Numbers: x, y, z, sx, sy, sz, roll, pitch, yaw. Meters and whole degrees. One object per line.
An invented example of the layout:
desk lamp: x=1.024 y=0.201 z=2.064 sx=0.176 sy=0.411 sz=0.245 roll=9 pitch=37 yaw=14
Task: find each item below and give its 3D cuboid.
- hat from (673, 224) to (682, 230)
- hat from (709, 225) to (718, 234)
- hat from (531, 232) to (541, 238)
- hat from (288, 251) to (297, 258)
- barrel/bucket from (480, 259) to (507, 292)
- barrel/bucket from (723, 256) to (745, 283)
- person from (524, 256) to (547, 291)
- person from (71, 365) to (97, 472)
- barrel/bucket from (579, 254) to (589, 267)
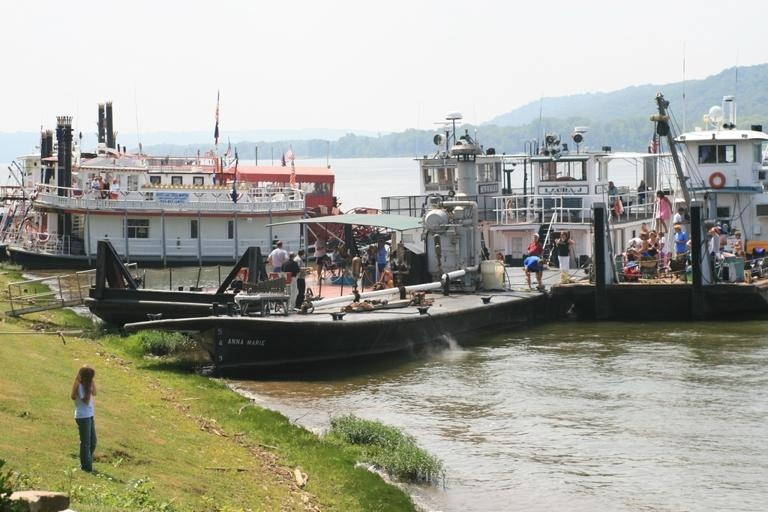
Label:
hat: x=11.755 y=-1.175 z=63.549 sx=0.219 sy=0.297 sz=0.290 roll=4 pitch=20 yaw=1
hat: x=13.143 y=-1.089 z=63.328 sx=0.247 sy=0.177 sz=0.416 roll=9 pitch=11 yaw=11
hat: x=6.584 y=-0.938 z=68.374 sx=0.338 sy=0.373 sz=0.214 roll=1 pitch=24 yaw=8
hat: x=-3.312 y=-0.075 z=58.773 sx=0.192 sy=0.241 sz=0.251 roll=0 pitch=-5 yaw=-6
barrel/bucket: x=4.484 y=0.711 z=64.579 sx=1.009 sy=1.088 sz=1.165 roll=-1 pitch=-5 yaw=10
barrel/bucket: x=13.896 y=0.462 z=63.188 sx=0.907 sy=0.995 sz=0.490 roll=-3 pitch=2 yaw=2
person: x=6.138 y=0.521 z=64.567 sx=0.716 sy=1.230 sz=2.342 roll=2 pitch=-10 yaw=-6
person: x=-8.941 y=4.817 z=47.877 sx=0.684 sy=3.139 sz=0.781 roll=-3 pitch=2 yaw=-12
barrel/bucket: x=8.825 y=0.153 z=69.994 sx=0.451 sy=0.867 sz=0.464 roll=-1 pitch=-5 yaw=0
